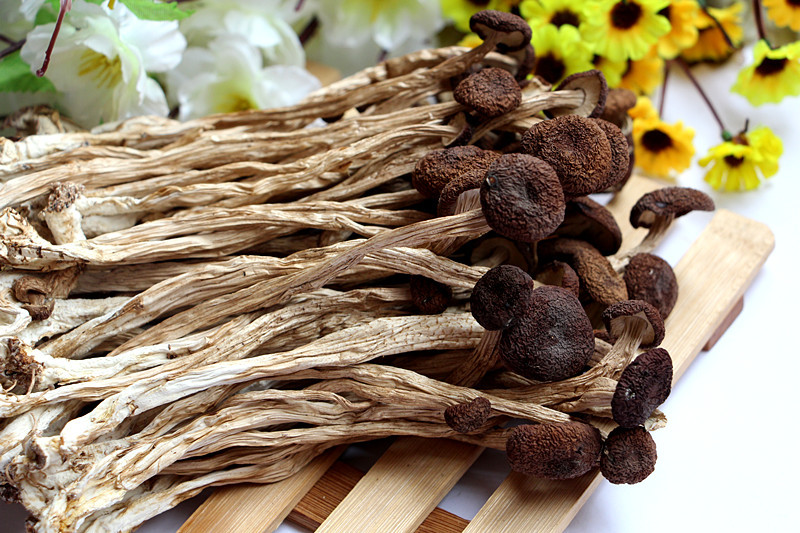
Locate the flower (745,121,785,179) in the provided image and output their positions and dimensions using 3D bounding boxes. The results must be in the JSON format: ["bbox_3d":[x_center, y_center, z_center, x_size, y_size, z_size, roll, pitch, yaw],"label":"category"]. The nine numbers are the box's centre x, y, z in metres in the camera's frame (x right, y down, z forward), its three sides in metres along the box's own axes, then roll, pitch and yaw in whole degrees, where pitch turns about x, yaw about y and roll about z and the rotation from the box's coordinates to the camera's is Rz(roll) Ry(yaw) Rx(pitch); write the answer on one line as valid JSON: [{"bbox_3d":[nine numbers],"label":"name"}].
[{"bbox_3d":[0.669,-0.214,1.379,0.113,0.082,0.025,-3,12,-1],"label":"flower"}]
